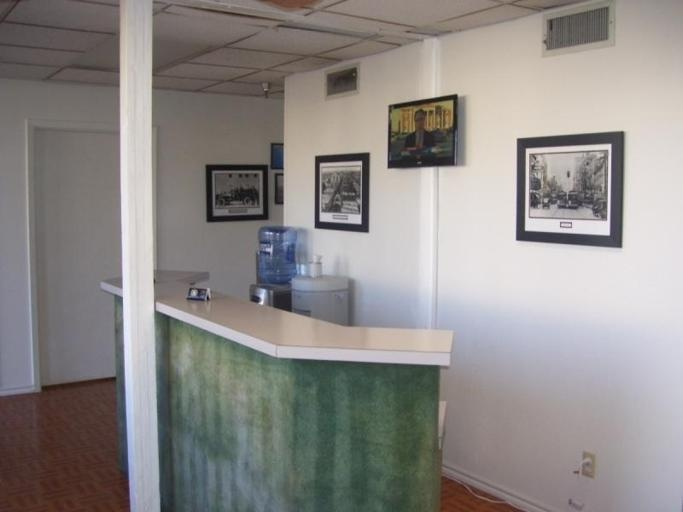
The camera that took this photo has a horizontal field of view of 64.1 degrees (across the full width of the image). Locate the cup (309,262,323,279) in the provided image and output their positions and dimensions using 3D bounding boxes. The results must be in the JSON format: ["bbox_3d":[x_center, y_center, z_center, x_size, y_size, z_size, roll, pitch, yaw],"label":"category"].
[{"bbox_3d":[-0.243,0.126,5.038,0.125,0.164,0.120,0,-6,0],"label":"cup"}]
